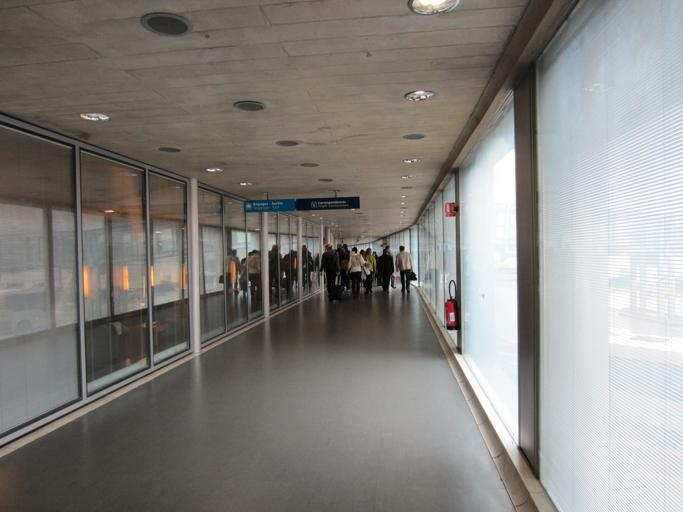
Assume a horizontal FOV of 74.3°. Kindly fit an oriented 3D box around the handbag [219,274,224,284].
[{"bbox_3d":[-2.758,0.529,10.339,0.146,0.279,0.146,1,-3,-32],"label":"handbag"}]

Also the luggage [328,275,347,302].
[{"bbox_3d":[-0.214,1.275,16.889,0.631,1.106,1.035,0,-12,1],"label":"luggage"}]

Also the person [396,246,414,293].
[{"bbox_3d":[2.638,0.576,18.946,0.570,1.989,1.104,-2,3,7],"label":"person"}]
